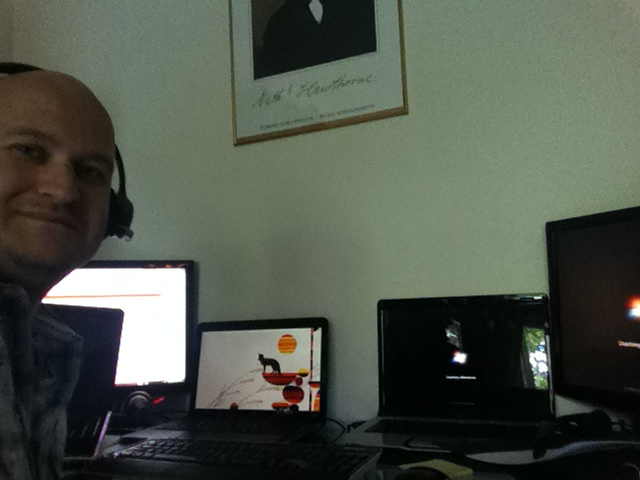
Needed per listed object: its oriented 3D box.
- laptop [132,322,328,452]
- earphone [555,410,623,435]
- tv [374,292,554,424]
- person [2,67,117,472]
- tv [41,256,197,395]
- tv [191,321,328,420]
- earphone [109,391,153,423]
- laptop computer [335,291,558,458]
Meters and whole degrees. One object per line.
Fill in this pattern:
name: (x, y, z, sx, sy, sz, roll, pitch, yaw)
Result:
laptop: (-0.239, 0.362, 1.633, 0.464, 0.284, 0.367, -5, -7, 22)
earphone: (0.626, 0.423, 1.449, 0.072, 0.022, 0.072, -6, -6, 33)
tv: (0.296, 0.316, 1.497, 0.490, 0.336, 0.308, -6, -4, 28)
person: (-0.535, 0.093, 1.314, 0.230, 0.901, 0.332, -4, 4, -15)
tv: (-0.578, 0.254, 2.016, 0.465, 0.451, 0.387, -1, -13, -2)
tv: (-0.157, 0.377, 1.749, 0.274, 0.187, 0.013, -5, -28, 13)
earphone: (-0.539, 0.481, 1.782, 0.102, 0.073, 0.025, -8, -22, -2)
laptop computer: (0.293, 0.305, 1.463, 0.482, 0.338, 0.353, -4, -6, 22)
